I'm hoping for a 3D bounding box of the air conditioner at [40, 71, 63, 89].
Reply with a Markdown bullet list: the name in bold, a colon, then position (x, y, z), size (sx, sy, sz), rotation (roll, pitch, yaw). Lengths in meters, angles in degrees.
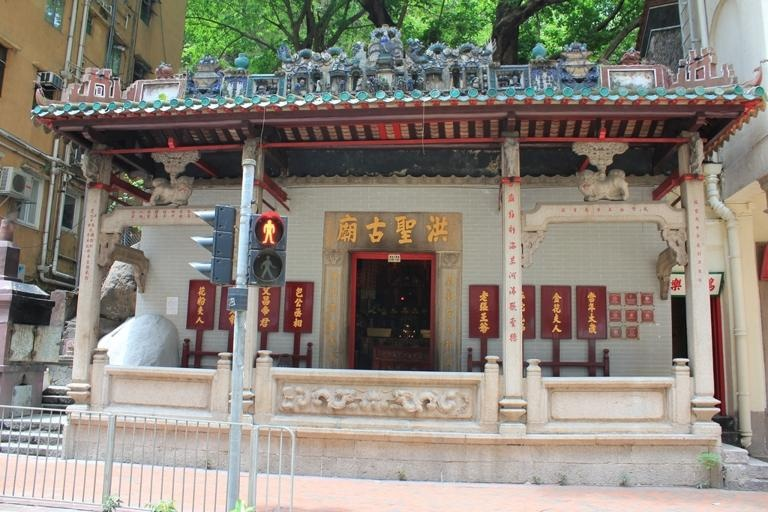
- **air conditioner**: position (-9.413, -5.036, 23.408), size (0.447, 0.319, 0.629), rotation (4, 2, 6)
